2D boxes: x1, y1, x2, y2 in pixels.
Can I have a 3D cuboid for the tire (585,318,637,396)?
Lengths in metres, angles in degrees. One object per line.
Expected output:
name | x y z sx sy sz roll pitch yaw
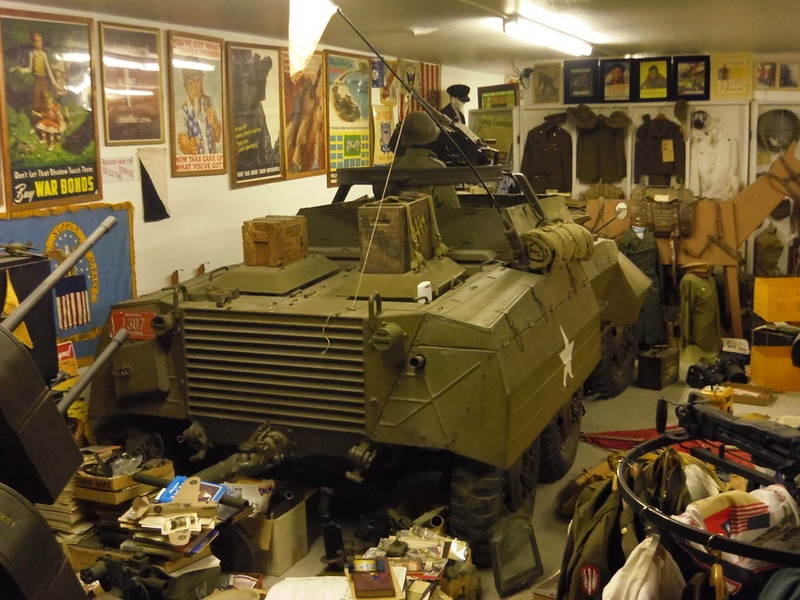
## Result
tire | 2.269 0.622 7.280 0.252 0.827 0.767 2 -6 25

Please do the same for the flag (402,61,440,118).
flag | 0.292 -3.144 9.878 0.829 0.640 0.034 -14 20 -39

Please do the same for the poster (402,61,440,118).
poster | 0.293 -3.144 9.871 0.816 0.627 0.038 -11 17 -38

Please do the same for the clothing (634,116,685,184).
clothing | 3.864 -2.226 9.917 0.852 1.413 0.183 1 12 16

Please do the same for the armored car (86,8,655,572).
armored car | 0.273 -0.492 6.342 2.846 3.493 5.115 7 16 27

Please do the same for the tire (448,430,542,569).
tire | 0.612 1.339 4.483 0.268 0.843 0.804 -3 -14 31

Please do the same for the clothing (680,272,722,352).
clothing | 3.903 0.171 8.725 0.516 1.009 0.361 4 14 25

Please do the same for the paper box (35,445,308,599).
paper box | -1.429 1.521 4.588 1.224 0.451 1.394 0 21 -24

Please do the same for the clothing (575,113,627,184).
clothing | 3.085 -2.307 10.186 0.901 1.414 0.143 2 3 24
